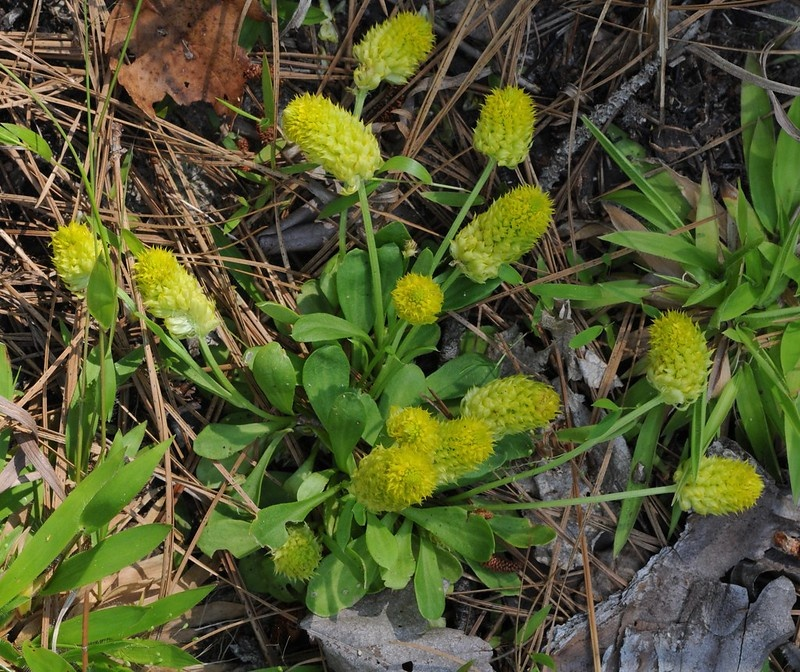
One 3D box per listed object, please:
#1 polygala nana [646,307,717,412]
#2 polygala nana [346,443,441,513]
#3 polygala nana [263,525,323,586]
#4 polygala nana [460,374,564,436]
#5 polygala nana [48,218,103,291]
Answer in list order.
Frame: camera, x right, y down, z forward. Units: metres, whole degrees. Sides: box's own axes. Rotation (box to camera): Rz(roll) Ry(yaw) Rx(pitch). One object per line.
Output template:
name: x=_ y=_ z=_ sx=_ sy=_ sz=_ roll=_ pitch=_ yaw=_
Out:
polygala nana: x=0.852 y=0.067 z=2.085 sx=0.147 sy=0.135 sz=0.288 roll=-9 pitch=103 yaw=12
polygala nana: x=-0.021 y=0.415 z=2.016 sx=0.141 sy=0.247 sz=0.133 roll=22 pitch=79 yaw=-19
polygala nana: x=-0.328 y=0.674 z=2.202 sx=0.169 sy=0.095 sz=0.178 roll=-11 pitch=88 yaw=-11
polygala nana: x=0.336 y=0.229 z=2.088 sx=0.265 sy=0.169 sz=0.176 roll=-10 pitch=77 yaw=24
polygala nana: x=-0.994 y=-0.237 z=2.119 sx=0.124 sy=0.121 sz=0.171 roll=-23 pitch=85 yaw=-36
